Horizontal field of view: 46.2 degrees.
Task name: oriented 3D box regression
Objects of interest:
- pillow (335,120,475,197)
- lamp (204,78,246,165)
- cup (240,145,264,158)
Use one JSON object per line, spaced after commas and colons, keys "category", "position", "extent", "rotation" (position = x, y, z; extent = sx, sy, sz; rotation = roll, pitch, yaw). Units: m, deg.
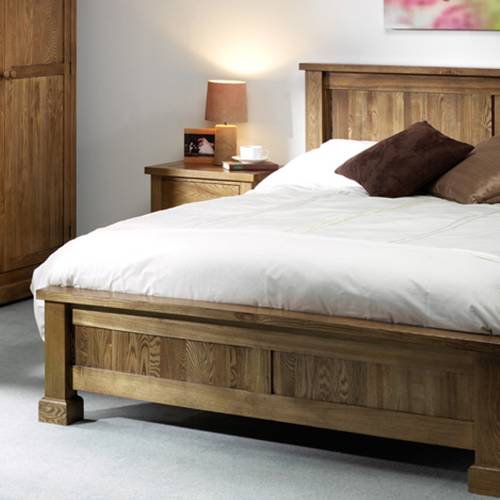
{"category": "pillow", "position": [0.702, -0.400, 2.650], "extent": [0.411, 0.125, 0.419], "rotation": [-35, 30, -19]}
{"category": "lamp", "position": [-0.161, -0.781, 3.659], "extent": [0.272, 0.448, 0.254], "rotation": [11, 9, -15]}
{"category": "cup", "position": [0.016, -0.589, 3.515], "extent": [0.121, 0.070, 0.088], "rotation": [-2, 8, -15]}
